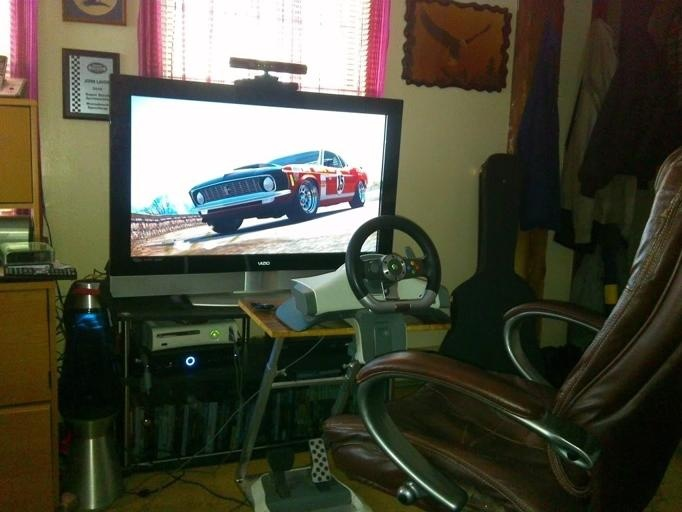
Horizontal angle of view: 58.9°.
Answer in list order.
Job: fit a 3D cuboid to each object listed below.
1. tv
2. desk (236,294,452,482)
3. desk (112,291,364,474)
[{"bbox_3d":[-0.435,-0.284,2.747,1.039,0.840,0.049,-3,10,-23],"label":"tv"},{"bbox_3d":[-0.026,0.450,2.709,0.885,0.905,0.784,0,7,-14],"label":"desk"},{"bbox_3d":[-0.416,0.661,2.937,0.648,0.795,1.155,8,-8,-38],"label":"desk"}]
